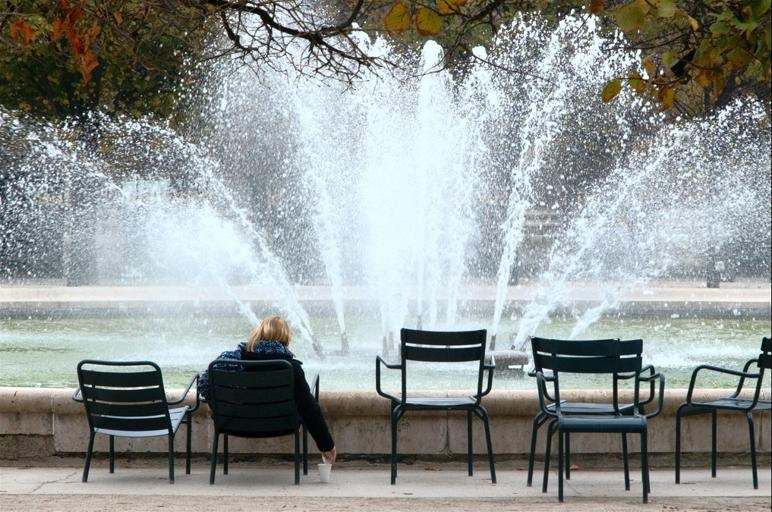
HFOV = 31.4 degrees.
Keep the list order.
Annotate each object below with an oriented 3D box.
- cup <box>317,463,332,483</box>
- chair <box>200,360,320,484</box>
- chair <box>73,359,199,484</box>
[{"bbox_3d":[-1.336,4.686,29.635,0.380,0.352,0.372,2,0,0],"label":"cup"},{"bbox_3d":[-2.878,3.375,30.438,2.457,2.932,2.362,2,16,10],"label":"chair"},{"bbox_3d":[-5.538,3.573,30.505,2.615,2.637,3.236,0,-1,2],"label":"chair"}]
